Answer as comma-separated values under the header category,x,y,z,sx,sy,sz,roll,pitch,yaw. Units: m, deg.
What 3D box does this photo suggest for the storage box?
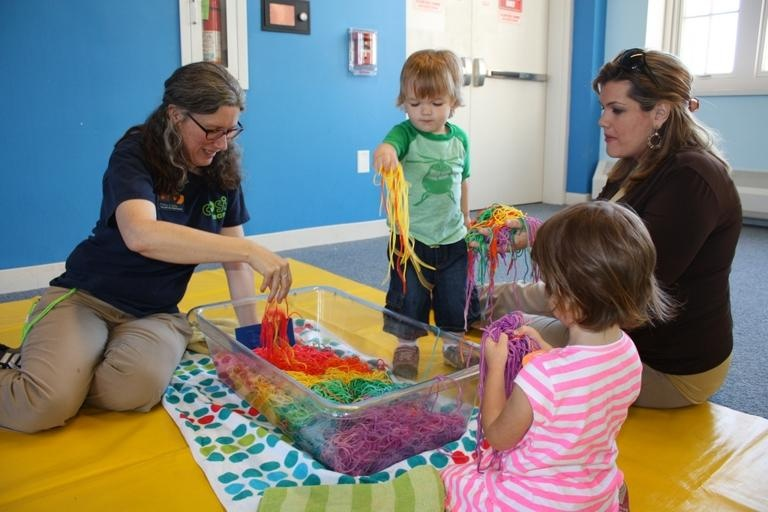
category,x,y,z,sx,sy,sz,roll,pitch,yaw
storage box,-0.190,0.446,2.090,0.645,0.289,0.906,-5,10,-37

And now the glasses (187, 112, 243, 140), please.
category,x,y,z,sx,sy,sz,roll,pitch,yaw
glasses,-0.711,-0.540,2.219,0.146,0.044,0.144,42,25,16

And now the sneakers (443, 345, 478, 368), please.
category,x,y,z,sx,sy,sz,roll,pitch,yaw
sneakers,0.283,0.370,1.993,0.062,0.053,0.118,-5,1,-36

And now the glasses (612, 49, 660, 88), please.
category,x,y,z,sx,sy,sz,roll,pitch,yaw
glasses,0.994,-0.756,2.130,0.161,0.055,0.119,40,-8,-20
